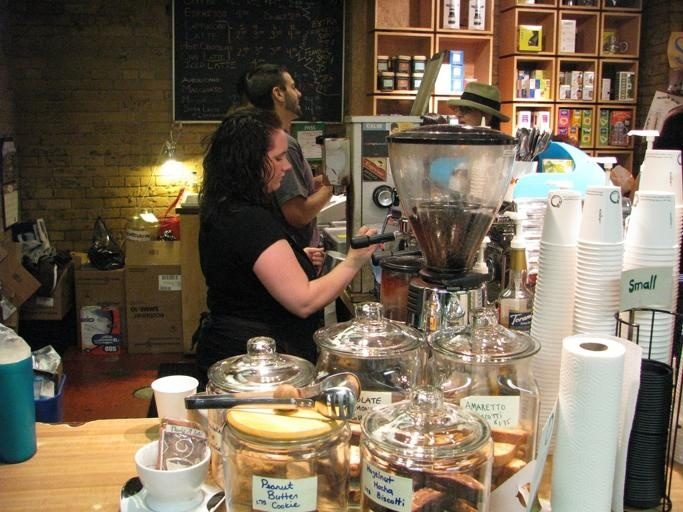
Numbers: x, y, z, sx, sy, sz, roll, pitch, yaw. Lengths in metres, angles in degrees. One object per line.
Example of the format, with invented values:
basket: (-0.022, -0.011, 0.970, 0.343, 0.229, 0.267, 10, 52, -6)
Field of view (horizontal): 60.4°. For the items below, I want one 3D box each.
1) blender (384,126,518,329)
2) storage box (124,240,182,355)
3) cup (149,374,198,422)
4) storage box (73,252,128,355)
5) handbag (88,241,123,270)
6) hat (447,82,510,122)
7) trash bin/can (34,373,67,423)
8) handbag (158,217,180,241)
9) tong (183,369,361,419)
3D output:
blender: (0.233, -0.070, 1.294, 0.272, 0.429, 0.181, 3, 11, 18)
storage box: (-1.528, 0.346, 4.843, 0.527, 0.847, 0.525, 1, -6, -29)
cup: (-0.401, 0.345, 1.364, 0.110, 0.085, 0.107, 2, 16, 0)
storage box: (-1.981, 0.420, 4.823, 0.329, 0.680, 0.388, 0, 8, -24)
handbag: (-1.903, 0.006, 4.760, 0.240, 0.187, 0.102, 1, -10, -2)
hat: (1.008, -1.147, 4.235, 0.433, 0.191, 0.482, 21, 8, 43)
trash bin/can: (-1.006, 0.517, 2.094, 0.111, 0.104, 0.164, -1, -6, -7)
handbag: (-1.426, -0.229, 4.880, 0.226, 0.219, 0.219, 0, 3, -11)
tong: (-0.125, 0.235, 1.014, 0.318, 0.079, 0.106, 0, 14, 5)
